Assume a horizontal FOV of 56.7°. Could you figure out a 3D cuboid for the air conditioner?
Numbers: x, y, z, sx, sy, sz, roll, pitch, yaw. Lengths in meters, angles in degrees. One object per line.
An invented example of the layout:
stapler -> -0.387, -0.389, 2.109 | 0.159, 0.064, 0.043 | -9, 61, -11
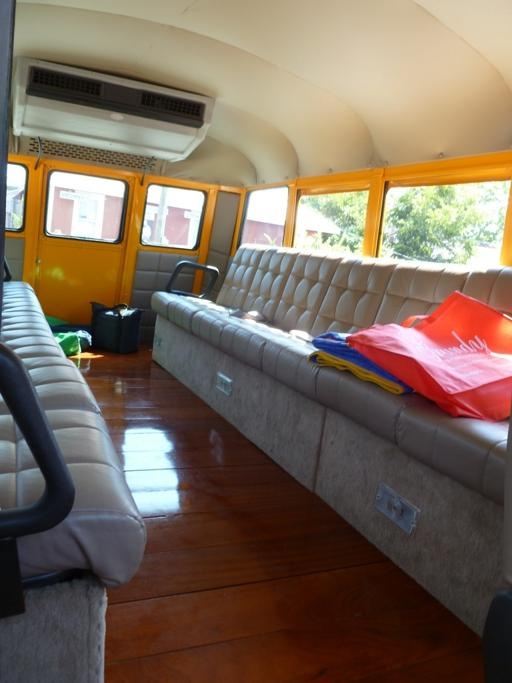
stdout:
air conditioner -> -1.241, -1.941, 4.034 | 1.541, 0.443, 0.878 | 4, 8, -19
